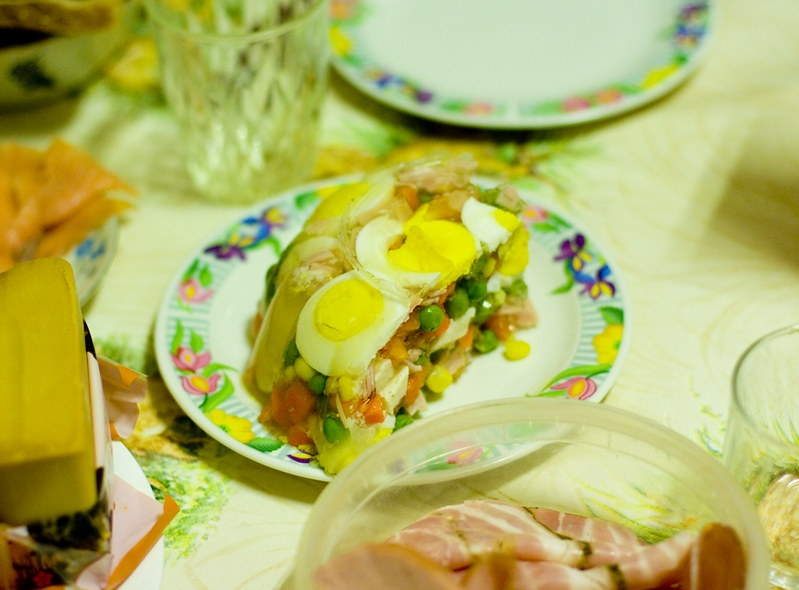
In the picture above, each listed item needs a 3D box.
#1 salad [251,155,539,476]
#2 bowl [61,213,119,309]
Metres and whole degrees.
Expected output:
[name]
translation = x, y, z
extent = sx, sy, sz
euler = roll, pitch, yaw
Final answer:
[salad]
translation = -0.029, -0.008, 1.016
extent = 0.286, 0.203, 0.400
euler = 28, 49, 27
[bowl]
translation = -0.384, -0.047, 0.967
extent = 0.022, 0.093, 0.098
euler = 34, 74, -35
